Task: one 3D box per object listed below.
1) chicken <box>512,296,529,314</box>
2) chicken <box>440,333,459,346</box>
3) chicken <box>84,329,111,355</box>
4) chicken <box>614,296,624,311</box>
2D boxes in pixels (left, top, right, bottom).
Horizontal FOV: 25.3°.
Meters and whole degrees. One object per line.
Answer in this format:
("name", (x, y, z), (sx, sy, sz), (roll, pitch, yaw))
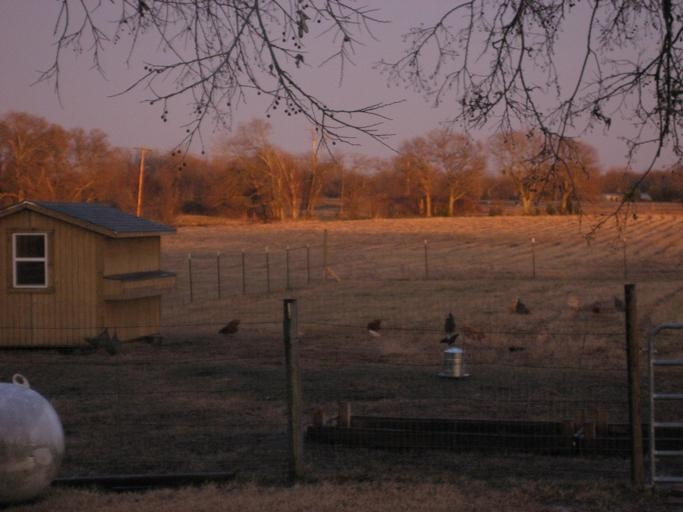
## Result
("chicken", (5.989, 1.664, 50.919), (0.379, 0.616, 0.650), (1, -20, -20))
("chicken", (3.083, 2.379, 43.061), (0.277, 0.185, 0.813), (-3, 3, 16))
("chicken", (-6.469, 2.386, 40.368), (0.790, 0.303, 1.070), (8, 9, -5))
("chicken", (8.870, 1.544, 48.652), (0.331, 0.535, 0.578), (-3, 4, 19))
